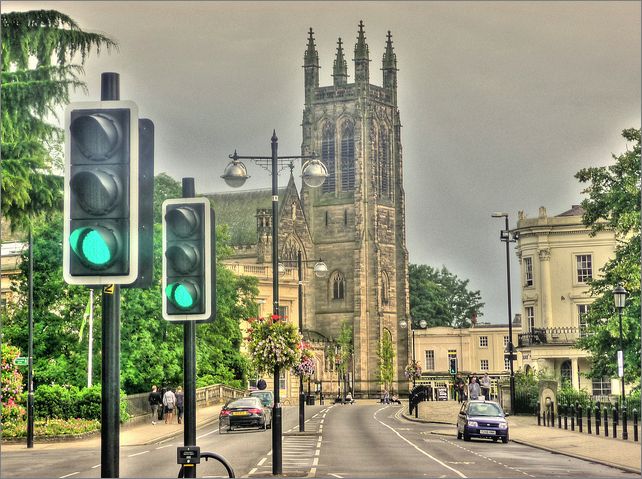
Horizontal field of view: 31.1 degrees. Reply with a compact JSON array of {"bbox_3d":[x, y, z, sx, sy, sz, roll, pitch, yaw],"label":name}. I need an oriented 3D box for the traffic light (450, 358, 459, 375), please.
[{"bbox_3d":[7.901,7.457,68.826,0.401,0.865,0.867,0,-9,-1],"label":"traffic light"}]

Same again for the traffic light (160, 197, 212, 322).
[{"bbox_3d":[-2.858,0.410,24.613,1.048,2.615,0.392,0,-8,-3],"label":"traffic light"}]

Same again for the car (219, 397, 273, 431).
[{"bbox_3d":[-3.570,8.111,53.823,1.922,1.483,4.831,-2,-9,2],"label":"car"}]

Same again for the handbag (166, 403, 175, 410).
[{"bbox_3d":[-7.484,8.191,56.978,0.407,0.253,0.304,-5,-10,-5],"label":"handbag"}]
